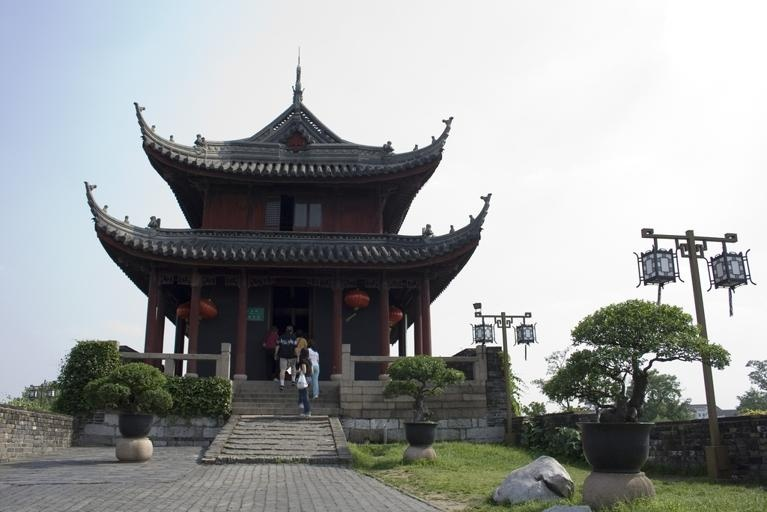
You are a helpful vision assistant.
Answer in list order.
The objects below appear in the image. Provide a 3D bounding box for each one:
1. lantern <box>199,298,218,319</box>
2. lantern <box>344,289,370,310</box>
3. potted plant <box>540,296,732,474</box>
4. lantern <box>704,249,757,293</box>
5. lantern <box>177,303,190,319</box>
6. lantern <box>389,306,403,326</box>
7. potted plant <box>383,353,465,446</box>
[{"bbox_3d":[-6.438,1.953,23.913,0.642,0.549,0.642,13,-25,7],"label":"lantern"},{"bbox_3d":[-1.036,1.648,24.589,0.782,0.821,0.767,2,-7,-17],"label":"lantern"},{"bbox_3d":[5.408,2.310,14.510,3.490,2.607,1.223,1,-15,-2],"label":"potted plant"},{"bbox_3d":[9.434,0.295,17.569,1.081,0.945,0.952,-7,4,-9],"label":"lantern"},{"bbox_3d":[-7.561,1.925,24.592,0.284,0.571,0.778,0,28,-3],"label":"lantern"},{"bbox_3d":[0.461,2.329,25.391,0.735,0.765,0.698,1,-11,6],"label":"lantern"},{"bbox_3d":[1.103,4.040,18.410,1.913,2.475,3.119,-5,-16,18],"label":"potted plant"}]
